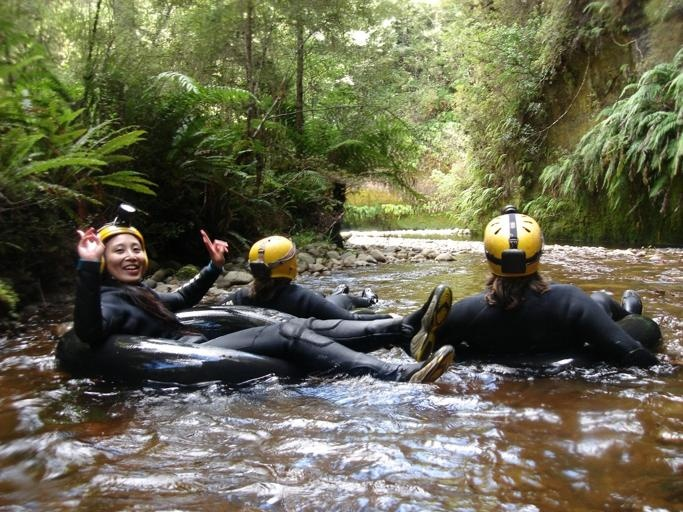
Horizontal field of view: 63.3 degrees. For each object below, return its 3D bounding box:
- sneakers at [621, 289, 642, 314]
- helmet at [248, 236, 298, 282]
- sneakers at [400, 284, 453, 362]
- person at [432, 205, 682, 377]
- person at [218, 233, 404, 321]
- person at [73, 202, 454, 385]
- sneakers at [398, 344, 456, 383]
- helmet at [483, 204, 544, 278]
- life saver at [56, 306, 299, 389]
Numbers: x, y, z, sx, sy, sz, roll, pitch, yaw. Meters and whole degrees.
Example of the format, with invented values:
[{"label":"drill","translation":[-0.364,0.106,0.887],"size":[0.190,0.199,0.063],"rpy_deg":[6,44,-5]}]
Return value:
[{"label":"sneakers","translation":[2.273,0.364,4.368],"size":[0.079,0.101,0.228],"rpy_deg":[-18,23,32]},{"label":"helmet","translation":[-0.576,0.013,4.221],"size":[0.392,0.273,0.422],"rpy_deg":[2,11,13]},{"label":"sneakers","translation":[0.551,0.415,3.646],"size":[0.302,0.619,0.206],"rpy_deg":[-13,57,-13]},{"label":"person","translation":[1.459,0.254,3.805],"size":[1.101,0.665,1.450],"rpy_deg":[-1,0,28]},{"label":"person","translation":[-0.242,0.208,4.454],"size":[1.123,0.391,0.953],"rpy_deg":[1,3,31]},{"label":"person","translation":[-0.554,0.243,3.741],"size":[2.475,0.808,1.146],"rpy_deg":[2,-4,-3]},{"label":"sneakers","translation":[0.485,0.652,3.402],"size":[0.142,0.141,0.380],"rpy_deg":[-21,-8,-34]},{"label":"helmet","translation":[1.119,-0.108,3.662],"size":[0.423,0.329,0.473],"rpy_deg":[-3,24,15]},{"label":"life saver","translation":[-1.239,0.640,3.986],"size":[1.578,0.318,1.434],"rpy_deg":[4,9,-34]}]
